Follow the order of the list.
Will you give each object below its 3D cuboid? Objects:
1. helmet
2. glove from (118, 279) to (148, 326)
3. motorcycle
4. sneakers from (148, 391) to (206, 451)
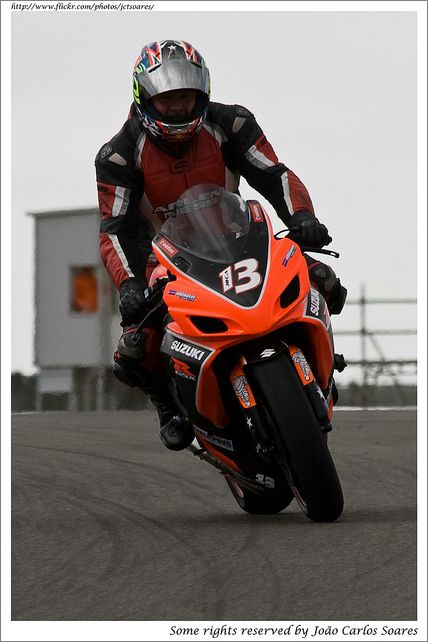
[{"bbox_3d":[-0.213,-1.202,3.083,0.403,0.442,0.513,-11,35,-15],"label":"helmet"},{"bbox_3d":[-0.367,-0.092,2.654,0.092,0.213,0.135,6,17,7],"label":"glove"},{"bbox_3d":[0.122,0.099,2.360,0.589,1.355,0.746,2,-4,-38],"label":"motorcycle"},{"bbox_3d":[-0.197,0.497,3.074,0.153,0.207,0.494,-34,14,2],"label":"sneakers"}]
